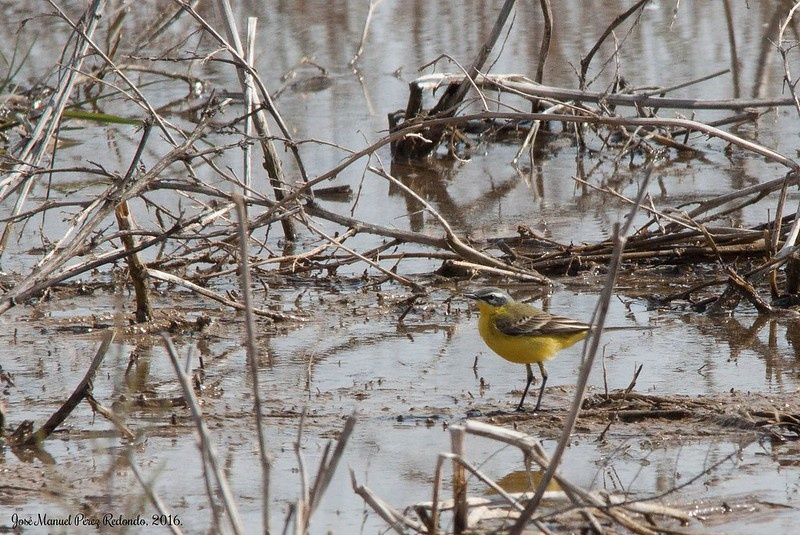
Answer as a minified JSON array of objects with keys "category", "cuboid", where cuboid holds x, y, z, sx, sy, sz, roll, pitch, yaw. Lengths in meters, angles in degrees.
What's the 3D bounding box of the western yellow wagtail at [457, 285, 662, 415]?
[{"category":"western yellow wagtail","cuboid":[1.099,0.692,8.971,1.040,1.368,0.510,3,-51,-2]}]
